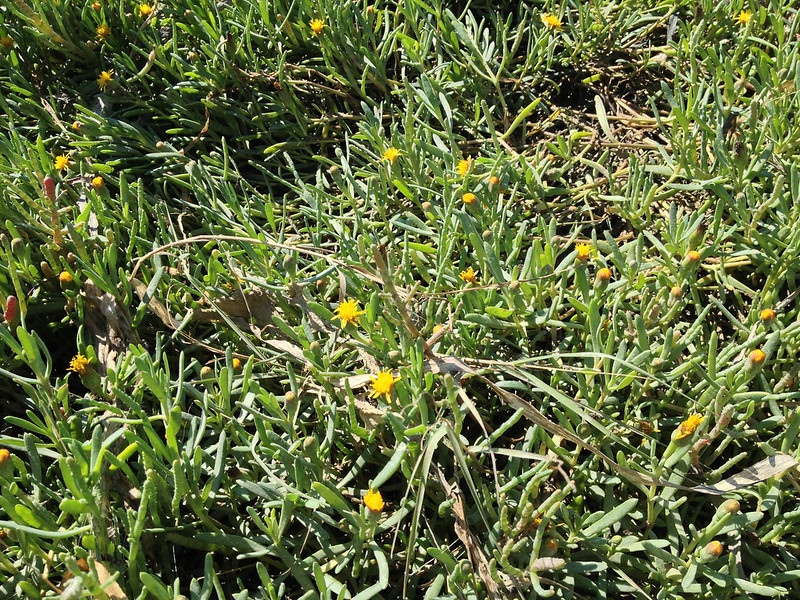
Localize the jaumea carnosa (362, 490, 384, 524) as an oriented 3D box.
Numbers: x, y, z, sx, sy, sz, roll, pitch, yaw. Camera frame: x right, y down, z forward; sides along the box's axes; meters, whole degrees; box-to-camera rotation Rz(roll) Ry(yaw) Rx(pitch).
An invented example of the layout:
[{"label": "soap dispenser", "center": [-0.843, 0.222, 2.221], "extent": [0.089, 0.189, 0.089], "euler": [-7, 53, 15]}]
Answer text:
[{"label": "jaumea carnosa", "center": [-0.041, 0.333, 1.378], "extent": [0.027, 0.087, 0.059], "euler": [-4, 52, -1]}]
